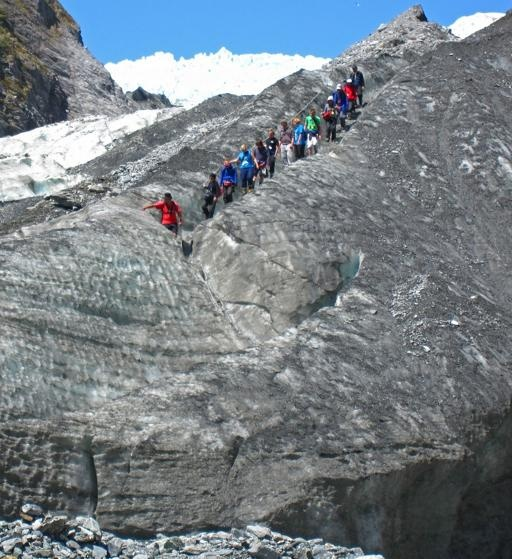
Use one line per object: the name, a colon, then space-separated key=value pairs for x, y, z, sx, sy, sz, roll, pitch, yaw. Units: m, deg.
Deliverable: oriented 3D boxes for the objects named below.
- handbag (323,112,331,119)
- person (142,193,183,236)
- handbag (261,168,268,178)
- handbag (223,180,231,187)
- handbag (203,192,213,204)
handbag: x=1.900 y=-4.277 z=21.939 sx=0.216 sy=0.185 sz=0.093 roll=8 pitch=-6 yaw=42
person: x=-1.773 y=-1.308 z=16.924 sx=0.483 sy=0.604 sz=0.922 roll=-11 pitch=5 yaw=-5
handbag: x=0.234 y=-2.555 z=20.175 sx=0.157 sy=0.171 sz=0.196 roll=4 pitch=1 yaw=4
handbag: x=-0.624 y=-2.126 z=18.540 sx=0.159 sy=0.118 sz=0.033 roll=0 pitch=10 yaw=4
handbag: x=-1.015 y=-1.796 z=18.539 sx=0.287 sy=0.307 sz=0.120 roll=7 pitch=18 yaw=6
